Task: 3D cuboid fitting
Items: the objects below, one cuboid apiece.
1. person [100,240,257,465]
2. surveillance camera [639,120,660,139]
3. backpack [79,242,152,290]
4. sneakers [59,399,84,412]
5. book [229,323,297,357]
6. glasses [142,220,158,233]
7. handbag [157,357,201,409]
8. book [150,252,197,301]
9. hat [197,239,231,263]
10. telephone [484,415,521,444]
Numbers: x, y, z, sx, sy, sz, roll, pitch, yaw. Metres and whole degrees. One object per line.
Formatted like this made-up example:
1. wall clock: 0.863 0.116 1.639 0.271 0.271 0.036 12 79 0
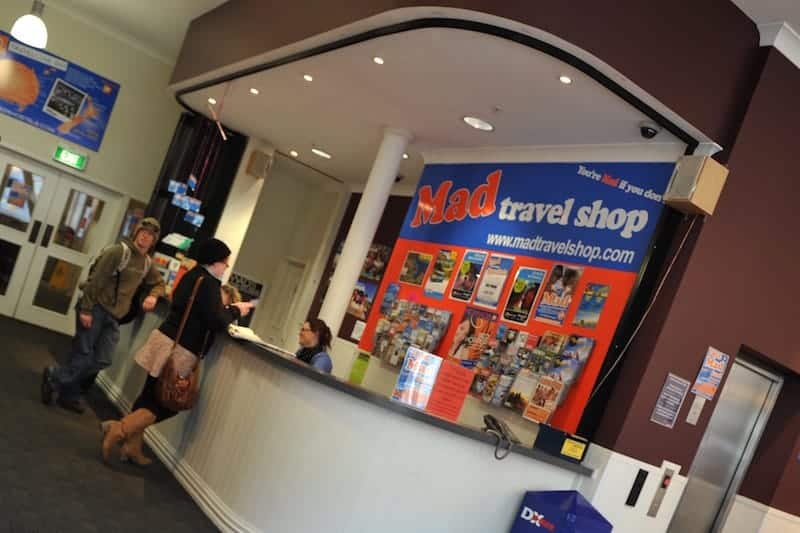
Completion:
1. person: -2.085 0.833 4.814 0.786 2.342 0.459 15 -3 8
2. surveillance camera: 2.444 -1.367 5.062 0.149 0.110 0.152 13 -2 1
3. backpack: -3.455 0.007 6.249 0.606 0.573 0.427 40 -1 -29
4. sneakers: -3.591 1.526 5.604 0.253 0.090 0.204 19 -3 -34
5. book: -1.279 0.701 4.701 0.513 0.086 0.562 27 -10 -19
6. glasses: -2.922 -0.475 6.006 0.140 0.079 0.198 28 -13 -19
7. handbag: -2.019 1.063 4.712 0.350 0.532 0.286 10 2 -34
8. book: -2.879 0.128 6.480 0.606 0.653 0.461 3 5 42
9. hat: -1.767 -0.139 4.877 0.250 0.206 0.240 5 1 -36
10. telephone: 0.898 1.476 4.617 0.268 0.076 0.291 41 6 33
